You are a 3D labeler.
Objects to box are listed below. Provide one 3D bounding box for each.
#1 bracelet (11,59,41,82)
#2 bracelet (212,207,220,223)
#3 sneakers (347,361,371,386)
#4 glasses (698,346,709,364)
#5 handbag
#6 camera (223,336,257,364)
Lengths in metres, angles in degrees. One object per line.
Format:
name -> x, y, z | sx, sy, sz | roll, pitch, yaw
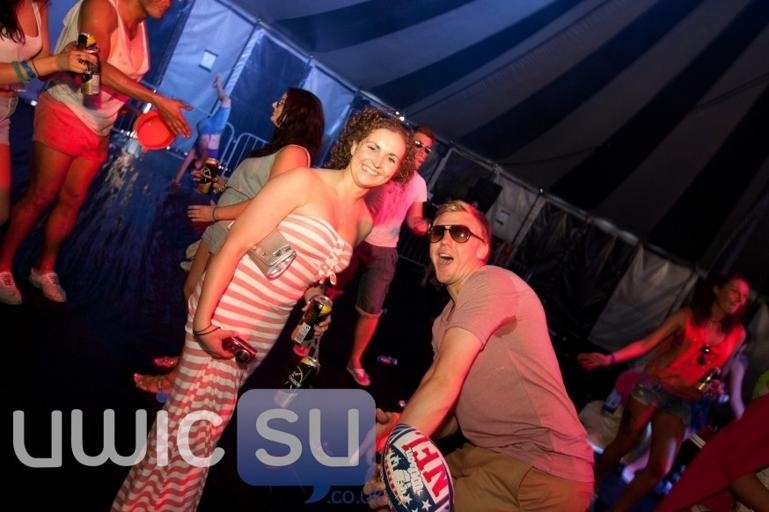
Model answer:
bracelet -> -2.787, -1.444, 3.494 | 0.163, 0.185, 0.045 | -8, -4, -36
bracelet -> -1.370, -0.338, 3.660 | 0.078, 0.084, 0.087 | 12, 50, -7
sneakers -> -0.298, 1.362, 5.238 | 0.302, 0.126, 0.167 | 43, 5, 37
glasses -> 3.441, 1.068, 4.874 | 0.096, 0.194, 0.069 | 26, 19, 38
handbag -> -0.768, -0.046, 2.864 | 0.401, 0.315, 0.155 | 49, -2, -6
camera -> -0.954, 0.604, 3.023 | 0.230, 0.135, 0.083 | 42, 6, 3
